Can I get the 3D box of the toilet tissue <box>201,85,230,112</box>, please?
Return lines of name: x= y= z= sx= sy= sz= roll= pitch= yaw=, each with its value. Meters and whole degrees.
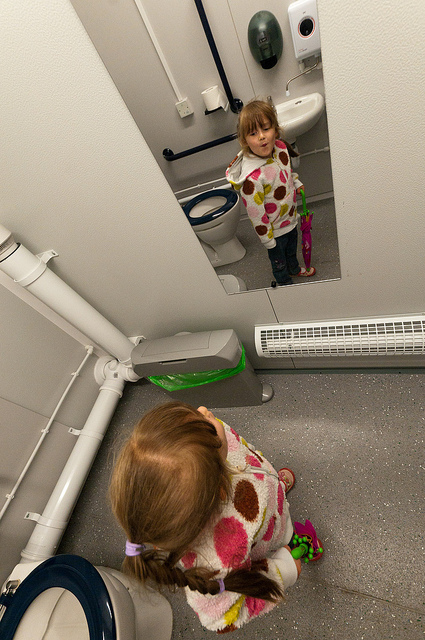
toilet tissue: x=0.009 y=-0.529 z=0.970 sx=0.044 sy=0.044 sz=0.049 roll=-4 pitch=64 yaw=23

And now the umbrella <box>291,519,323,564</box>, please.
umbrella: x=0.294 y=0.692 z=1.264 sx=0.106 sy=0.081 sz=0.144 roll=8 pitch=34 yaw=10

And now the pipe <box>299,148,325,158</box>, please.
pipe: x=0.249 y=-0.416 z=1.006 sx=0.056 sy=0.009 sz=0.011 roll=-15 pitch=55 yaw=15

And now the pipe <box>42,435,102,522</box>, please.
pipe: x=-0.623 y=0.706 z=1.797 sx=0.091 sy=0.080 sz=0.394 roll=13 pitch=40 yaw=-5
